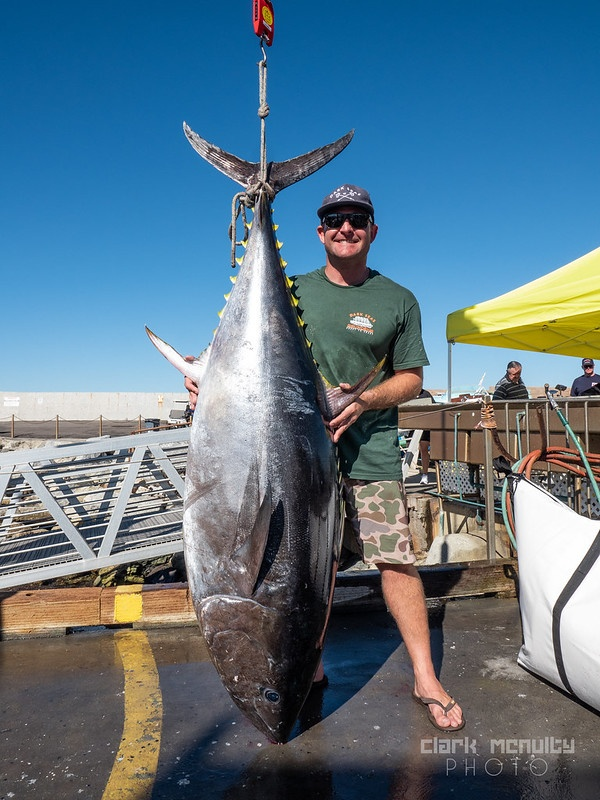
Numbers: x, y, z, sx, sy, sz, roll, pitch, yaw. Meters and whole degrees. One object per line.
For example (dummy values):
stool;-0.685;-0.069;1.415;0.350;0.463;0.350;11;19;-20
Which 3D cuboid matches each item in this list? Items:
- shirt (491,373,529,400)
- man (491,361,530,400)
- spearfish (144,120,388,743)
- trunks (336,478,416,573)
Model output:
shirt;2.650;-0.154;7.646;0.410;0.317;0.145;-2;-1;-20
man;2.583;-0.191;7.424;0.492;0.669;0.248;-6;4;-27
spearfish;-0.075;0.148;2.074;0.653;1.874;0.486;-1;0;-13
trunks;0.362;0.534;2.560;0.224;0.382;0.291;-18;-31;24
